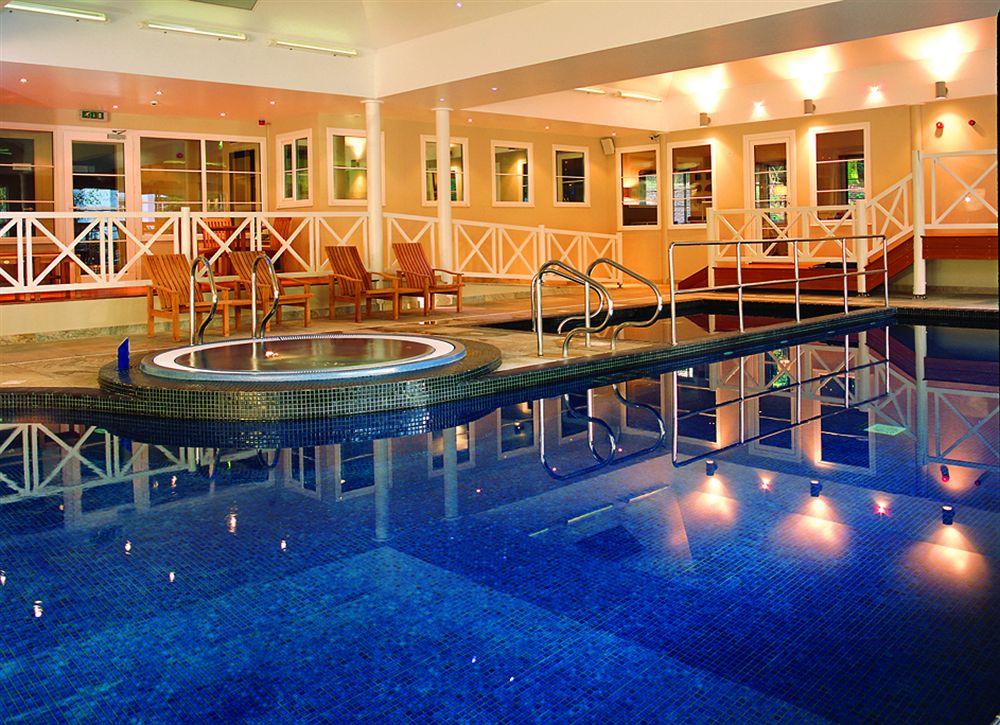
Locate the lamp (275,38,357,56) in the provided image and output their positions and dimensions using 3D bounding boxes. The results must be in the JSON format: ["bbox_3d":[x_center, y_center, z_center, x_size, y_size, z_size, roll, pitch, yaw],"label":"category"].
[{"bbox_3d":[-2.855,-4.965,11.030,1.347,0.141,0.342,-9,13,-36],"label":"lamp"}]

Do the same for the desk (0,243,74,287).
[{"bbox_3d":[-7.081,-1.505,10.829,1.374,0.490,0.787,-2,6,-22],"label":"desk"}]

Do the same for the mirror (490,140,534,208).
[{"bbox_3d":[0.278,-4.275,15.881,1.052,1.335,0.259,-13,16,-42],"label":"mirror"}]

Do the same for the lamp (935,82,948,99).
[{"bbox_3d":[8.145,-5.114,13.130,0.177,0.309,0.242,8,16,40],"label":"lamp"}]

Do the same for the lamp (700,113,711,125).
[{"bbox_3d":[4.568,-5.499,15.822,0.267,0.267,0.189,-1,12,4],"label":"lamp"}]

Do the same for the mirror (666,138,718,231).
[{"bbox_3d":[4.414,-4.148,16.424,1.021,1.820,0.249,7,16,37],"label":"mirror"}]

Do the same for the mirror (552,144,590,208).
[{"bbox_3d":[1.682,-4.472,16.879,0.977,1.275,0.267,-12,16,-41],"label":"mirror"}]

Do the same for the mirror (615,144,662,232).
[{"bbox_3d":[3.304,-4.226,17.099,0.969,1.824,0.176,8,16,38],"label":"mirror"}]

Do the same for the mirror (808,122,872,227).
[{"bbox_3d":[6.941,-4.079,14.506,0.320,1.550,1.083,-11,15,-34],"label":"mirror"}]

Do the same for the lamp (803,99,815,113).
[{"bbox_3d":[6.332,-5.323,14.579,0.250,0.303,0.185,2,13,18],"label":"lamp"}]

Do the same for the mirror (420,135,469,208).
[{"bbox_3d":[-1.142,-4.048,14.818,0.294,1.331,1.190,7,14,36],"label":"mirror"}]

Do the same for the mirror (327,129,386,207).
[{"bbox_3d":[-2.902,-3.765,13.528,0.201,1.348,0.889,8,15,37],"label":"mirror"}]
